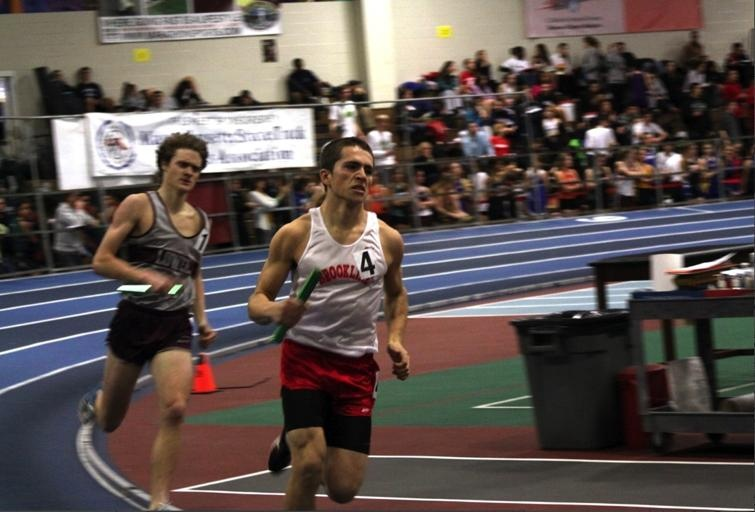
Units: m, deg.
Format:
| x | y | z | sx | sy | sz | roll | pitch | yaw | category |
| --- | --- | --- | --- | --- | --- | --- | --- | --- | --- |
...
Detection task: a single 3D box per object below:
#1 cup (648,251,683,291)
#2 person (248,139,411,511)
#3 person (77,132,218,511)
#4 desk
| x | y | z | sx | sy | sz | roll | pitch | yaw | category |
| --- | --- | --- | --- | --- | --- | --- | --- | --- | --- |
| 2.323 | 0.126 | 6.523 | 0.351 | 0.303 | 0.324 | 1 | -5 | 0 | cup |
| -0.363 | 0.397 | 4.849 | 0.563 | 2.195 | 0.934 | 4 | 13 | 37 | person |
| -1.528 | 0.466 | 5.417 | 1.005 | 2.574 | 0.939 | -6 | 10 | -11 | person |
| 2.427 | 0.734 | 6.519 | 1.171 | 1.117 | 1.928 | -3 | 0 | 28 | desk |
